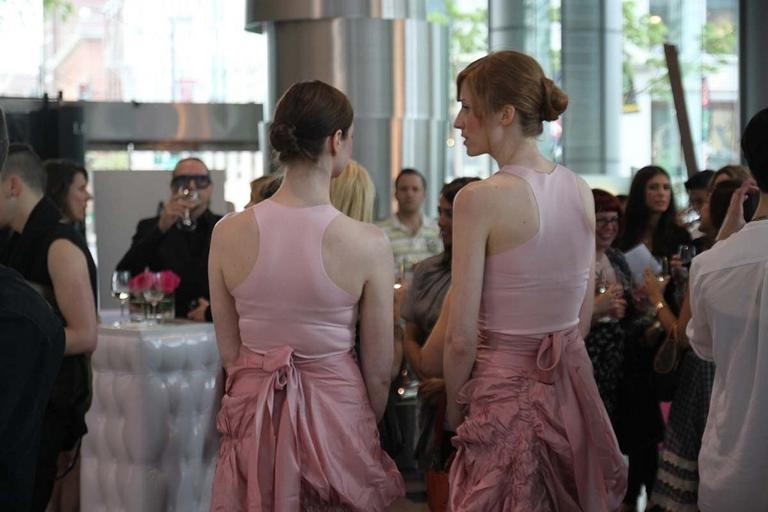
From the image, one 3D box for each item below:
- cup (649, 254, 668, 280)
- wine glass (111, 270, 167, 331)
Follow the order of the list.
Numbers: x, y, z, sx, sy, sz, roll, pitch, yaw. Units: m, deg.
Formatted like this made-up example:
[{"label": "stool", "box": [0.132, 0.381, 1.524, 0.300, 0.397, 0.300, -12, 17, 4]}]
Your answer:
[{"label": "cup", "box": [1.596, 0.064, 4.802, 0.102, 0.189, 0.116, -3, 2, -17]}, {"label": "wine glass", "box": [-1.405, 0.248, 4.862, 0.286, 0.246, 0.293, 0, 1, 30]}]
